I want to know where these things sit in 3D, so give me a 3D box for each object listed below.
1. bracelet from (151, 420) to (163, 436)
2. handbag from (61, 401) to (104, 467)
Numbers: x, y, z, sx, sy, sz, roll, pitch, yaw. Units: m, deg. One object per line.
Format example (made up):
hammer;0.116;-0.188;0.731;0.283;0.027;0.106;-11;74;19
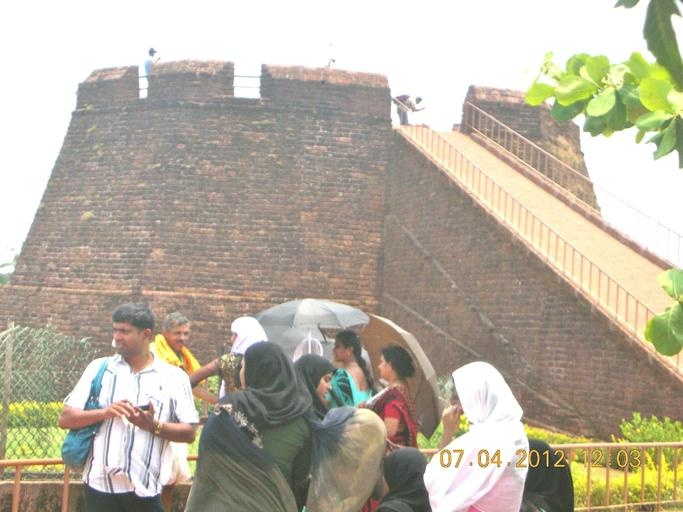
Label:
bracelet;-2.535;2.361;18.242;0.112;0.179;0.156;-1;-5;-7
handbag;-3.598;2.607;18.254;0.647;0.521;0.282;-20;-30;26
